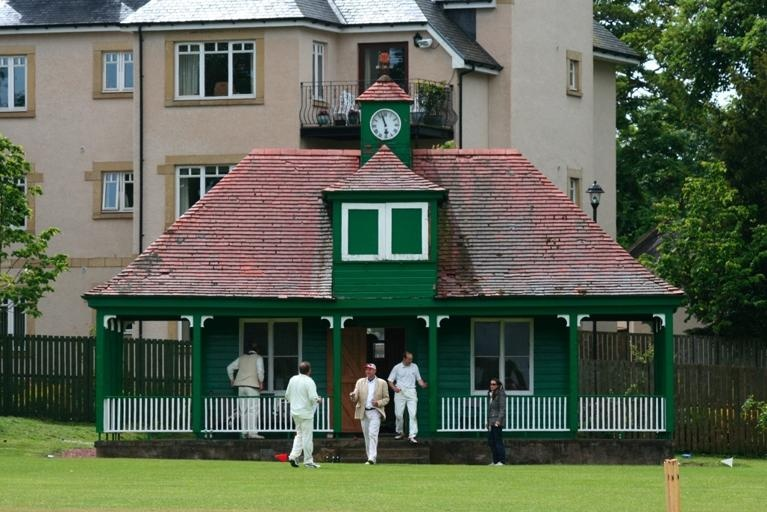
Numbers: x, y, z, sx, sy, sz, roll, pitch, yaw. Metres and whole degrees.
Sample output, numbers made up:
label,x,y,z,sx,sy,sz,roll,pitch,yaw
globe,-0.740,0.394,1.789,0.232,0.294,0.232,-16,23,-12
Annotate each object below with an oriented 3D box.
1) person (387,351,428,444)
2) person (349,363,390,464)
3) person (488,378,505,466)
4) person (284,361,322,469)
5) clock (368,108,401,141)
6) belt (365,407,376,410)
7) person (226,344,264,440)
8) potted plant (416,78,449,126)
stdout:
label,x,y,z,sx,sy,sz,roll,pitch,yaw
person,0.705,4.250,65.195,1.174,2.709,0.995,-2,4,4
person,-0.428,4.670,64.231,1.192,2.902,1.166,-2,2,4
person,3.375,5.003,64.668,0.531,2.550,1.039,-1,-9,2
person,-2.383,4.654,62.926,1.331,2.955,1.193,-1,-2,31
clock,0.011,-4.138,68.016,0.924,0.973,0.234,1,-3,2
belt,-0.448,4.504,63.629,0.267,0.108,0.077,-1,-9,-1
person,-4.272,4.164,66.137,1.106,2.825,0.618,-3,-9,13
potted plant,1.658,-5.404,75.603,1.536,1.897,1.347,0,3,8
